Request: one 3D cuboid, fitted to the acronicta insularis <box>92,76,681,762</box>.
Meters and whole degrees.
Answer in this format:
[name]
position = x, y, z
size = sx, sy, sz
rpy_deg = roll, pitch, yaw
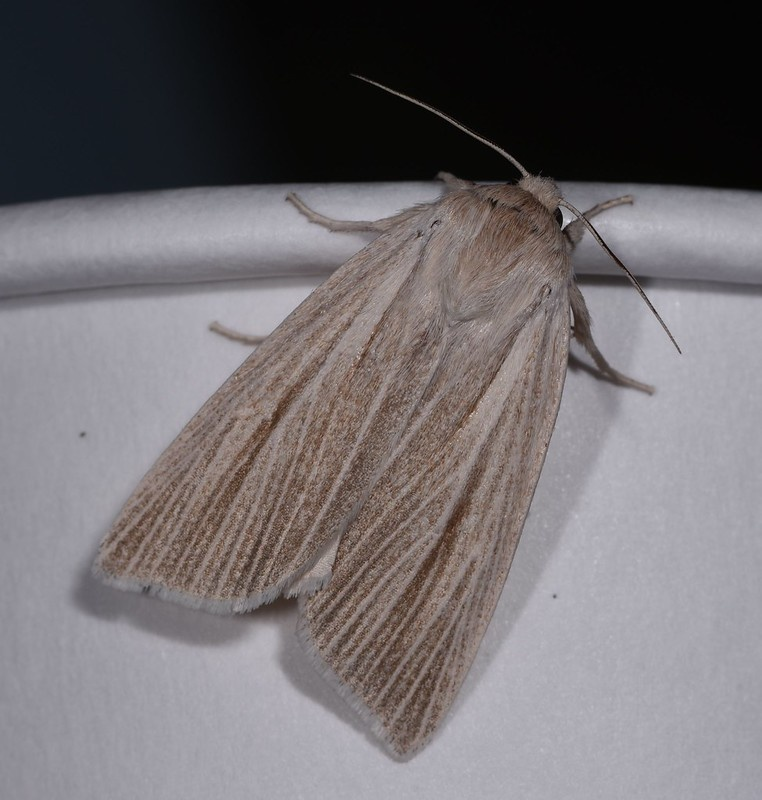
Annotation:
[acronicta insularis]
position = 0.031, -0.036, 1.435
size = 0.722, 0.899, 0.231
rpy_deg = 23, -12, 32
